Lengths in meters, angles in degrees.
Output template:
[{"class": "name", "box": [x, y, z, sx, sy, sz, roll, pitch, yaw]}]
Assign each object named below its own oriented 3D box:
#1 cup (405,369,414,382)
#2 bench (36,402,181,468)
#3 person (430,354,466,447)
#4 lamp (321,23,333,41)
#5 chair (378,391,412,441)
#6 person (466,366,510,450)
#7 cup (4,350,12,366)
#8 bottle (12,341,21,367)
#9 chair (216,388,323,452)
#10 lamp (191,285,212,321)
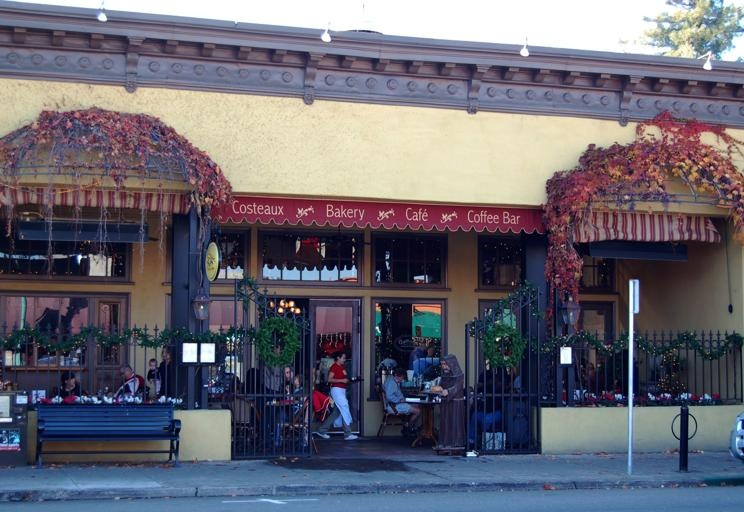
[{"class": "cup", "box": [0.910, 2.824, 30.289, 0.219, 0.279, 0.197, 1, -12, -2]}, {"class": "bench", "box": [-5.233, 3.502, 25.330, 2.706, 1.176, 1.018, 2, -9, -17]}, {"class": "person", "box": [1.681, 3.145, 27.366, 0.593, 2.028, 0.399, -1, -8, 3]}, {"class": "lamp", "box": [-0.956, -4.576, 26.794, 0.213, 0.225, 0.327, -1, -9, 0]}, {"class": "chair", "box": [0.538, 3.812, 29.893, 0.955, 1.493, 0.840, -1, -6, 0]}, {"class": "person", "box": [2.499, 3.258, 27.422, 0.885, 1.723, 1.192, -1, -8, 4]}, {"class": "cup", "box": [-8.063, 2.286, 28.513, 0.156, 0.355, 0.106, 3, -9, -22]}, {"class": "bottle", "box": [-7.899, 2.254, 28.540, 0.164, 0.417, 0.122, 2, -8, -16]}, {"class": "chair", "box": [-2.072, 3.515, 26.560, 1.939, 1.173, 1.388, 1, 22, -1]}, {"class": "lamp", "box": [-3.407, 0.988, 26.123, 0.515, 0.953, 0.510, 0, -1, -11]}]
